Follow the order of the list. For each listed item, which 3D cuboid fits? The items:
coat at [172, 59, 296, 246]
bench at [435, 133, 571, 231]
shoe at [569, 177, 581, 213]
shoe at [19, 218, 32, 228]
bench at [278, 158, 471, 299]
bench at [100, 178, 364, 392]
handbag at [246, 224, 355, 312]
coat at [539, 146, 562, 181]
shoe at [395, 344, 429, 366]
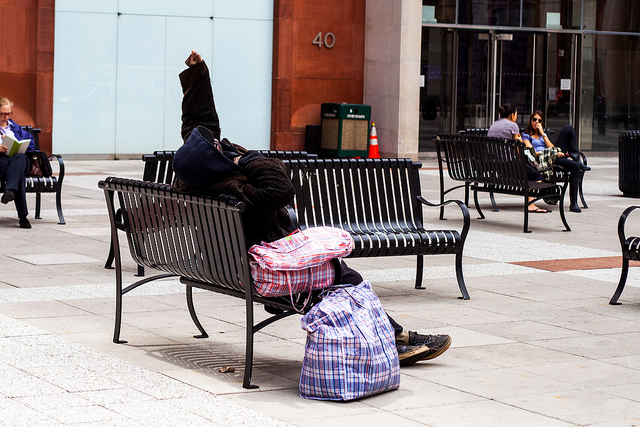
[{"bbox_3d":[-0.868,-0.510,8.002,1.036,1.490,1.142,2,24,-3],"label":"coat"},{"bbox_3d":[3.006,-0.499,15.543,0.832,0.970,1.766,-10,12,-35],"label":"bench"},{"bbox_3d":[4.345,-0.311,16.372,0.191,0.574,0.370,2,8,11],"label":"shoe"},{"bbox_3d":[-4.058,0.131,13.277,0.148,0.124,0.195,-2,8,-16],"label":"shoe"},{"bbox_3d":[0.542,0.191,9.914,2.047,1.081,0.783,-1,5,-24],"label":"bench"},{"bbox_3d":[-0.763,0.651,8.086,0.795,1.009,1.847,-8,11,-42],"label":"bench"},{"bbox_3d":[-0.152,0.383,7.570,1.172,0.508,0.640,-10,18,-25],"label":"handbag"},{"bbox_3d":[3.787,-0.805,15.906,0.323,0.540,0.405,2,8,11],"label":"coat"},{"bbox_3d":[0.765,1.169,7.994,0.351,0.133,0.111,-14,3,12],"label":"shoe"}]
